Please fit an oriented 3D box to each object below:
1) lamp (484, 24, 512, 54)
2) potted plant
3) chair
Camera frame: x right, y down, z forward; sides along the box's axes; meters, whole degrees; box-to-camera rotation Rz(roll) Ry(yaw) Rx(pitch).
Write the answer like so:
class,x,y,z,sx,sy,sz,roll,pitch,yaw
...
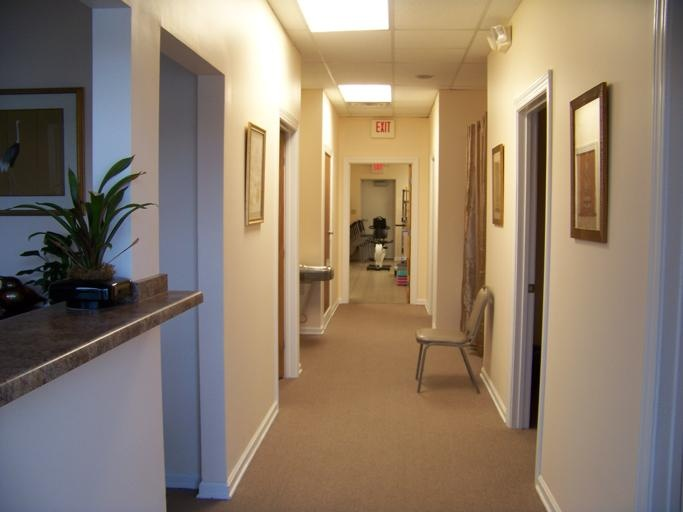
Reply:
class,x,y,z,sx,sy,sz,roll,pitch,yaw
lamp,1.240,-1.703,4.084,0.142,0.303,0.287,-2,10,4
potted plant,-1.157,-0.116,2.314,0.413,0.635,0.940,-5,9,-37
chair,1.051,0.732,4.893,0.618,1.039,0.512,3,4,8
